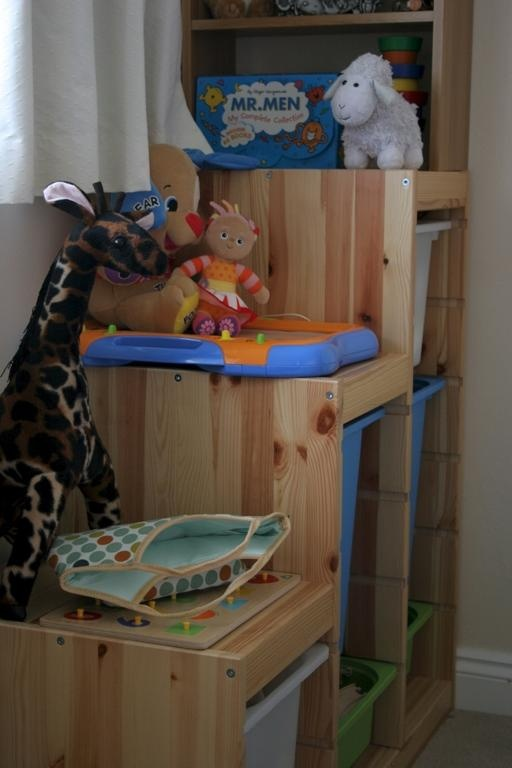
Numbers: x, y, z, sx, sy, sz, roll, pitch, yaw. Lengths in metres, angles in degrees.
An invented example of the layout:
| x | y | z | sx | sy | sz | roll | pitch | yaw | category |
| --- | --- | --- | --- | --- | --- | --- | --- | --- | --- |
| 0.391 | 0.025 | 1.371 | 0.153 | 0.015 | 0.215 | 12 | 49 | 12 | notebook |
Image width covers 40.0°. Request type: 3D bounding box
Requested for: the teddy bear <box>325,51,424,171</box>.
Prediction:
| x | y | z | sx | sy | sz | roll | pitch | yaw | category |
| --- | --- | --- | --- | --- | --- | --- | --- | --- | --- |
| 0.251 | -0.541 | 1.426 | 0.235 | 0.230 | 0.164 | -16 | 25 | -34 | teddy bear |

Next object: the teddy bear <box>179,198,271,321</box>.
| x | y | z | sx | sy | sz | roll | pitch | yaw | category |
| --- | --- | --- | --- | --- | --- | --- | --- | --- | --- |
| -0.052 | -0.188 | 1.188 | 0.160 | 0.224 | 0.112 | 10 | 5 | -17 | teddy bear |
